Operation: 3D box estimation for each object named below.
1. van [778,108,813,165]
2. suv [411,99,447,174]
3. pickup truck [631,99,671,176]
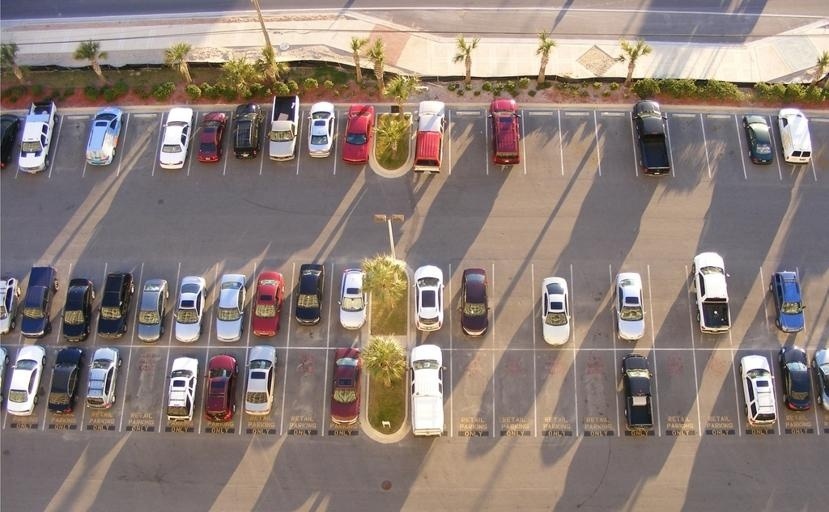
[{"bbox_3d":[42.156,-13.121,119.464,2.620,2.540,6.800,3,76,10],"label":"van"},{"bbox_3d":[1.524,-13.320,119.260,3.302,7.853,2.940,1,6,5],"label":"suv"},{"bbox_3d":[26.294,-13.498,119.537,4.213,3.229,9.880,-1,57,1],"label":"pickup truck"}]
